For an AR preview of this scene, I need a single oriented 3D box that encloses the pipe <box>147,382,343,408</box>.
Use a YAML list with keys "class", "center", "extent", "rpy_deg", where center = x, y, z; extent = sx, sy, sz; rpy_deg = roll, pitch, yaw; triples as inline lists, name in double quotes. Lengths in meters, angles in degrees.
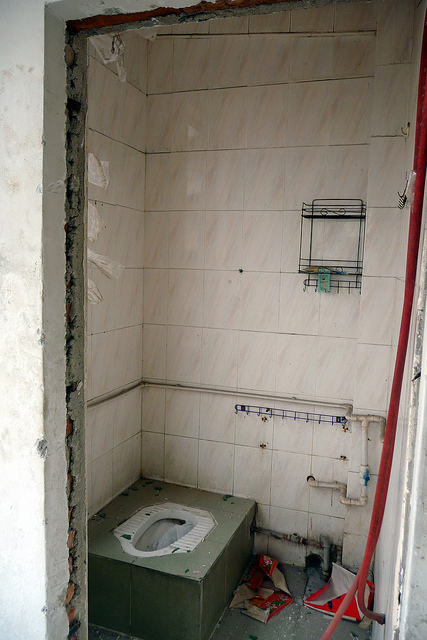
- class: "pipe"
  center: [0.138, 0.413, 3.115]
  extent: [1.129, 0.045, 0.043]
  rpy_deg: [4, 5, 24]
